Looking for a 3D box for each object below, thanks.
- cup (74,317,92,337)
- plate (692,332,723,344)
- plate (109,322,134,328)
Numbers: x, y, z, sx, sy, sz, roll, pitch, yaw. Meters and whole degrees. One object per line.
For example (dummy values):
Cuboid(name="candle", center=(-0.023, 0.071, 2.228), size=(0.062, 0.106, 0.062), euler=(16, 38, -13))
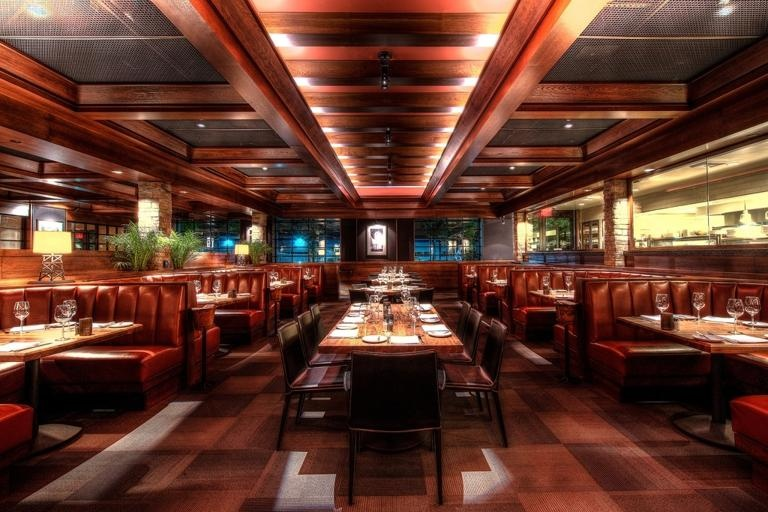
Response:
Cuboid(name="cup", center=(-3.262, 0.764, 5.088), size=(0.246, 0.136, 0.097), euler=(-3, -1, 18))
Cuboid(name="plate", center=(3.321, 0.845, 4.841), size=(0.238, 0.051, 0.191), euler=(-3, -2, 20))
Cuboid(name="plate", center=(-3.025, 0.794, 5.427), size=(0.249, 0.043, 0.209), euler=(-2, -2, -19))
